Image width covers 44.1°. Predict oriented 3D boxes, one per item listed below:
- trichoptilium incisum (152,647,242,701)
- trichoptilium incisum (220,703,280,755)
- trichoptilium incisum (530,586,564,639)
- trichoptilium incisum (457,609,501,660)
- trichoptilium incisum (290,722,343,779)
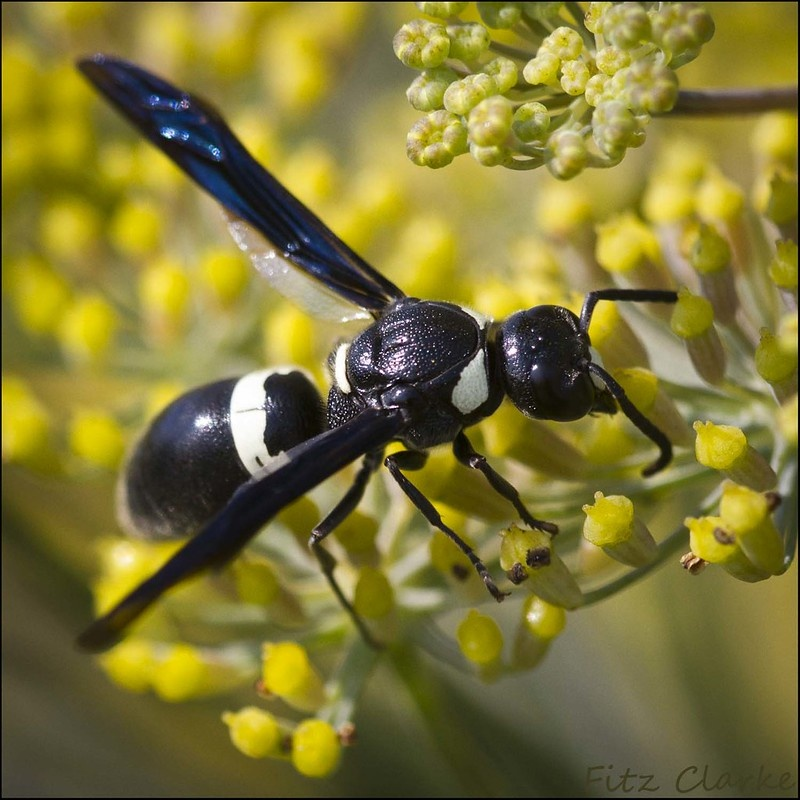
[{"bbox_3d":[-0.220,0.294,1.052,0.089,0.045,0.033,3,-2,-12],"label":"trichoptilium incisum"},{"bbox_3d":[-0.151,0.333,0.999,0.065,0.049,0.043,10,-39,-3],"label":"trichoptilium incisum"},{"bbox_3d":[0.148,0.214,0.993,0.037,0.013,0.043,-41,-92,25],"label":"trichoptilium incisum"},{"bbox_3d":[0.083,0.246,1.019,0.031,0.051,0.039,-14,-28,-53],"label":"trichoptilium incisum"},{"bbox_3d":[-0.083,0.358,1.014,0.042,0.053,0.069,-12,-42,23],"label":"trichoptilium incisum"}]
